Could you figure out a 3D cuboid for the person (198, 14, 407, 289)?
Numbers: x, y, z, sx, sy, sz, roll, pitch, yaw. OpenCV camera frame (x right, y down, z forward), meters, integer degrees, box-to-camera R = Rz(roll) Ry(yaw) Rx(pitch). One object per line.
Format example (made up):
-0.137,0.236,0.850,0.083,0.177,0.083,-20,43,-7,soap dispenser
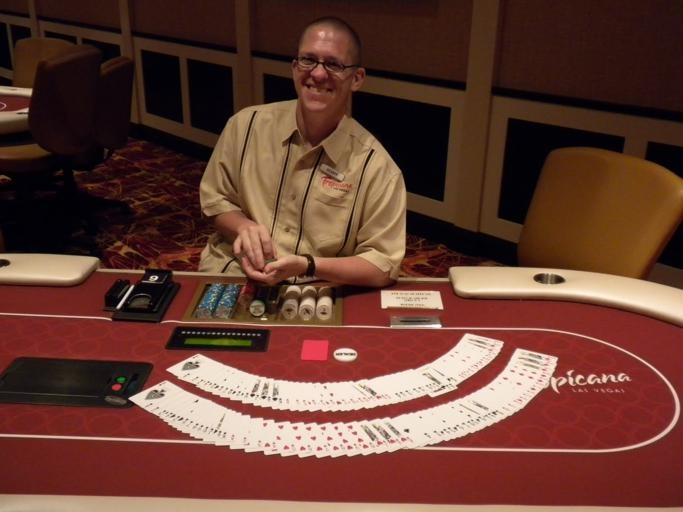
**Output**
-0.155,-0.304,1.810,0.661,1.297,0.686,23,24,29,person

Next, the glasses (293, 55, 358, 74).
-0.057,-0.749,1.745,0.255,0.050,0.099,3,28,-3,glasses
